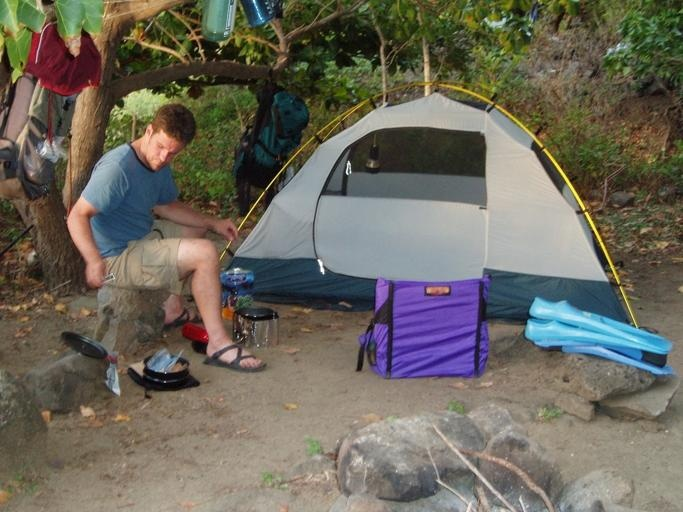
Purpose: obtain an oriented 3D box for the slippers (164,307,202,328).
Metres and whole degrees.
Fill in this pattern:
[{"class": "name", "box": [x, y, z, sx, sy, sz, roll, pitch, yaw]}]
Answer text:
[{"class": "slippers", "box": [-1.375, 0.548, 5.876, 0.385, 0.127, 0.147, -11, 16, -42]}]
